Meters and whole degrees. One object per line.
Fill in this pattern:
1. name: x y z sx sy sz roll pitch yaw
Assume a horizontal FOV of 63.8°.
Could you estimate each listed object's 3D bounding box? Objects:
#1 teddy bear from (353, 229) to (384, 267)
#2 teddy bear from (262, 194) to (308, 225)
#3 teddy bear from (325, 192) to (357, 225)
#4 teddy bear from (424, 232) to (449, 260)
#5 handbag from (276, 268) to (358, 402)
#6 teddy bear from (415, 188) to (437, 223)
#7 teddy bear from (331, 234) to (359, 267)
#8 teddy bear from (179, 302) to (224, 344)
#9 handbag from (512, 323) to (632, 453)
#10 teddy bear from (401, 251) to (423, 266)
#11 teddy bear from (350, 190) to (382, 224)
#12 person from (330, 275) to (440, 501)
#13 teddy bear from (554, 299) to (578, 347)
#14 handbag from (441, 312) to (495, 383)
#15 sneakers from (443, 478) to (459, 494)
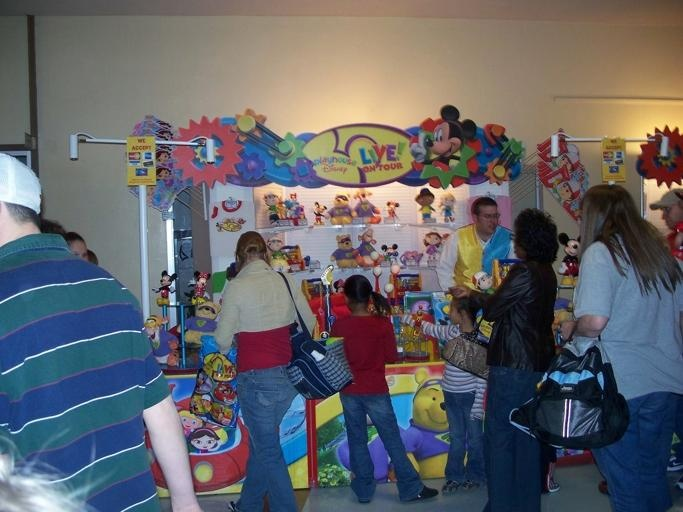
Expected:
1. teddy bear: 0.251 -0.077 5.564 0.345 0.452 0.227 3 -8 -33
2. teddy bear: -0.579 -0.457 5.433 0.358 0.345 0.165 -1 -3 -21
3. teddy bear: 0.007 -0.445 5.488 0.308 0.359 0.266 -2 -17 4
4. teddy bear: 0.920 -0.107 5.322 0.250 0.317 0.128 4 -5 -13
5. handbag: -0.156 0.469 3.234 0.404 0.782 0.307 -19 -15 25
6. teddy bear: 0.862 -0.516 5.645 0.224 0.376 0.176 4 -4 22
7. teddy bear: 0.039 -0.056 5.490 0.307 0.342 0.190 -1 -7 -22
8. teddy bear: -1.009 0.483 3.940 0.268 0.359 0.197 14 -18 -16
9. handbag: 0.978 0.580 2.401 0.434 0.545 0.222 1 21 12
10. teddy bear: 0.705 0.028 5.592 0.136 0.126 0.180 0 -5 4
11. teddy bear: 0.229 -0.503 5.585 0.328 0.471 0.200 -4 -12 -9
12. person: 0.226 0.829 3.426 0.557 1.439 0.208 -2 7 -1
13. teddy bear: 1.747 0.567 4.370 0.176 0.426 0.196 -6 3 7
14. handbag: 0.769 0.536 3.332 0.377 0.373 0.170 21 -1 -25
15. sneakers: 0.695 1.483 3.524 0.045 0.055 0.127 -3 -8 28
